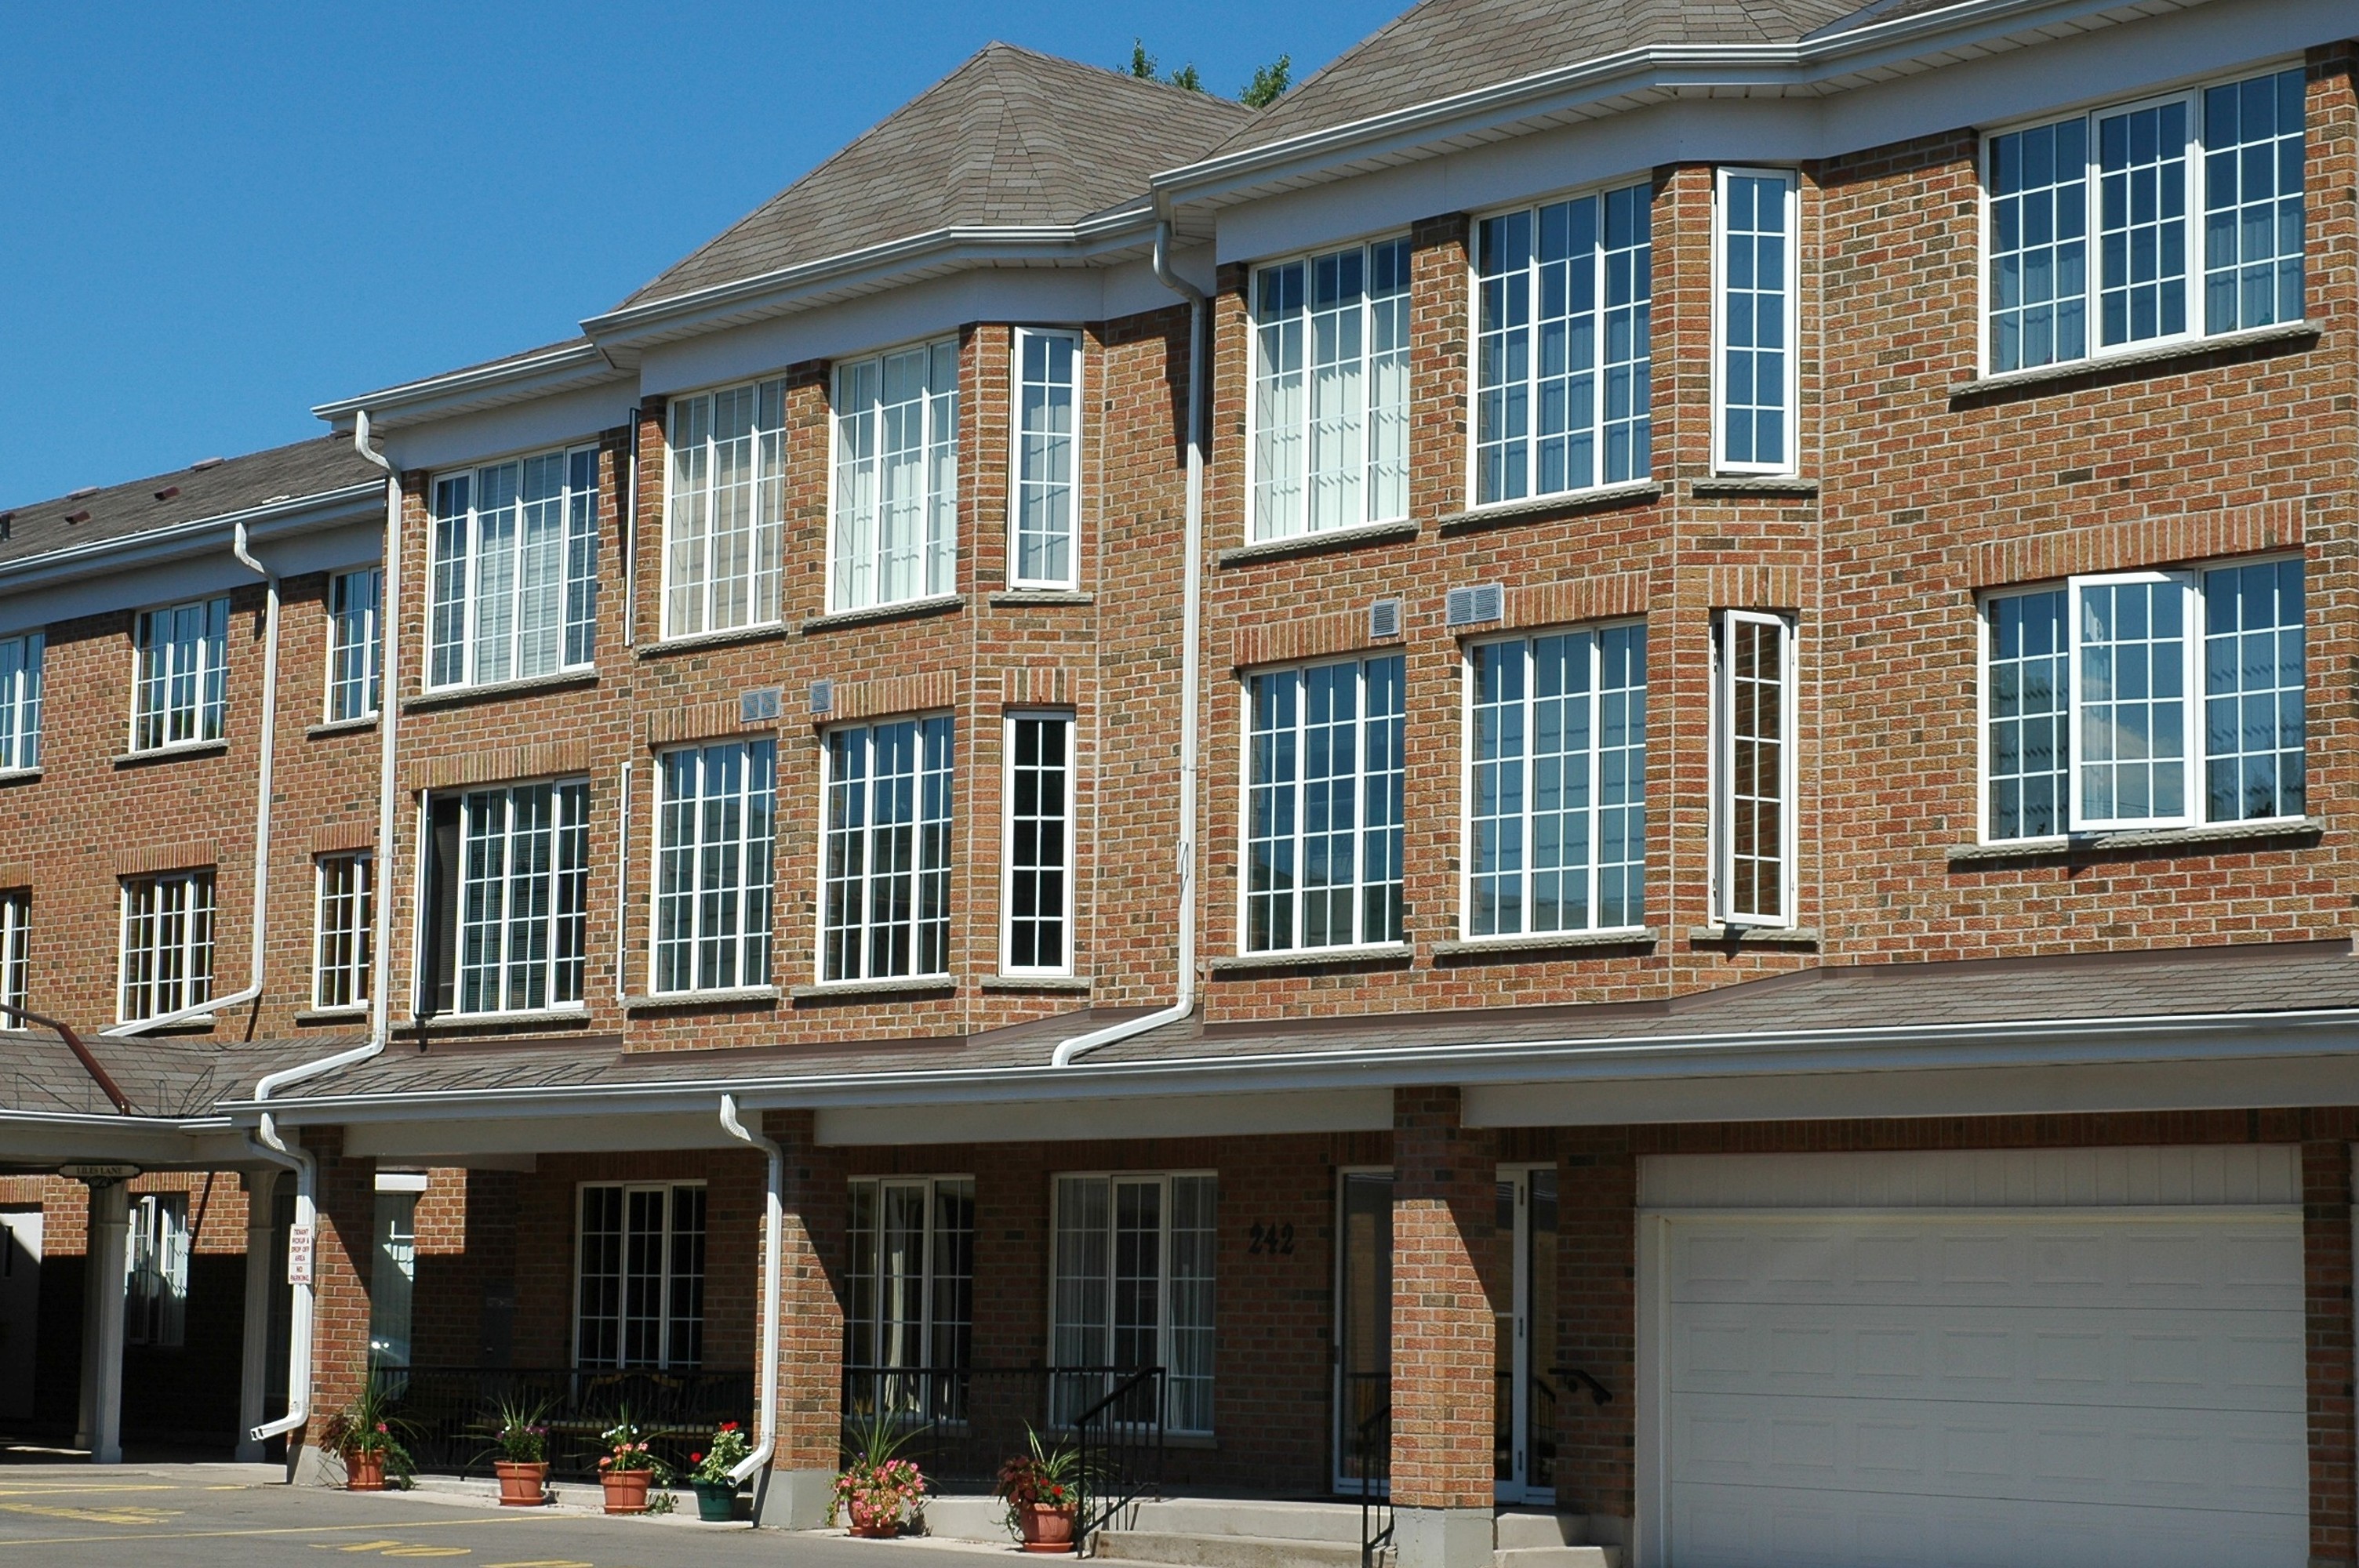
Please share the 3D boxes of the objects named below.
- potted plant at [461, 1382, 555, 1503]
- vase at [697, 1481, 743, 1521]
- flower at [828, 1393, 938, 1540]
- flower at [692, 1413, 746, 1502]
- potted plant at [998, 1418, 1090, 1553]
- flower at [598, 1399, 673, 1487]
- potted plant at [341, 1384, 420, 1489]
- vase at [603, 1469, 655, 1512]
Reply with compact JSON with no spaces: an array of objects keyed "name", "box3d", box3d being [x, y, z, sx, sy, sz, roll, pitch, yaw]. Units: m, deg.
[{"name":"potted plant","box3d":[-7.740,7.869,44.600,1.058,1.741,1.133,-7,-14,26]},{"name":"vase","box3d":[-5.183,7.920,41.896,0.474,0.340,0.470,6,-12,-31]},{"name":"flower","box3d":[-3.380,7.606,41.502,1.026,1.384,1.164,-10,-13,42]},{"name":"flower","box3d":[-5.130,7.611,42.126,0.775,0.956,0.745,-2,-12,6]},{"name":"potted plant","box3d":[-1.471,7.529,39.986,0.918,1.160,0.543,-4,-14,15]},{"name":"flower","box3d":[-6.413,7.582,43.670,0.845,0.976,0.854,0,0,38]},{"name":"potted plant","box3d":[-9.700,7.832,45.238,0.588,1.219,0.839,-13,-18,42]},{"name":"vase","box3d":[-6.365,8.026,42.954,0.469,0.322,0.465,2,-14,-6]}]
